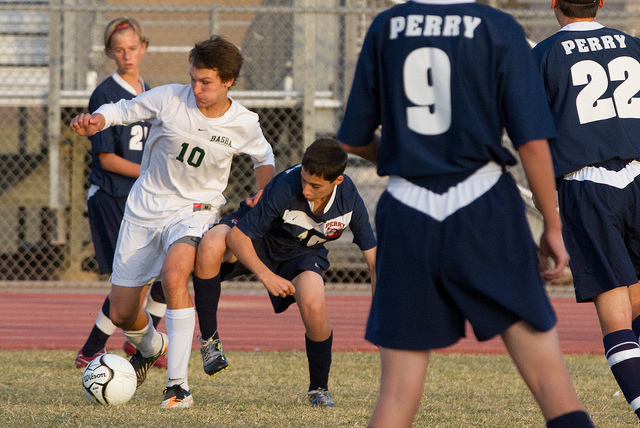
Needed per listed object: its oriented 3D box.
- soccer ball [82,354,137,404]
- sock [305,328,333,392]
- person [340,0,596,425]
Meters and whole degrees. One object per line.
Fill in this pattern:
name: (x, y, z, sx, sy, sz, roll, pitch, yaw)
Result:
soccer ball: (-1.573, 1.223, 7.982, 0.394, 0.309, 0.251, -1, 10, -2)
sock: (0.004, 1.130, 8.087, 0.195, 0.389, 0.331, 1, 0, 5)
person: (0.843, -0.022, 6.505, 1.335, 2.477, 0.678, 0, 10, 0)
